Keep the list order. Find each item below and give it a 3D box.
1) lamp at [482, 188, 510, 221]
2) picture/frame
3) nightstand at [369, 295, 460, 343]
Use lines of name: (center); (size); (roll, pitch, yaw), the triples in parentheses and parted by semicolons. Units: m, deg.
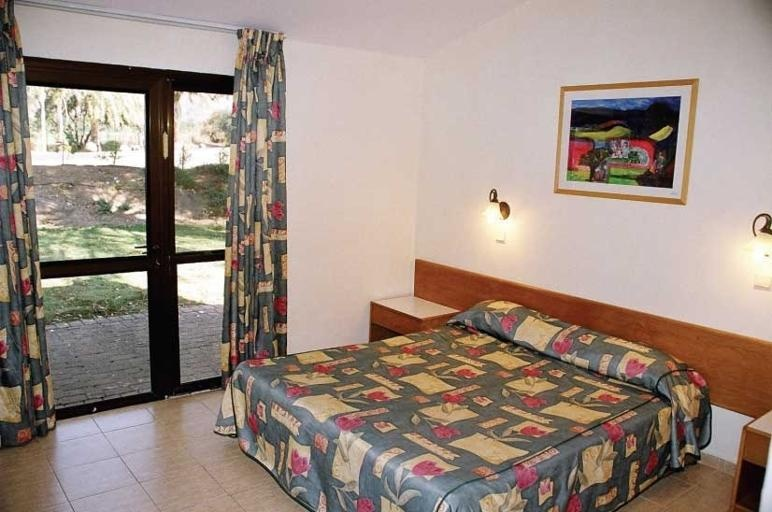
lamp: (1.035, -0.483, 5.011); (0.143, 0.295, 0.257); (-3, 11, -38)
picture/frame: (1.962, -0.925, 4.244); (1.060, 0.892, 0.045); (13, 21, 40)
nightstand: (0.267, 0.547, 5.328); (0.506, 0.587, 0.653); (-11, 18, -34)
